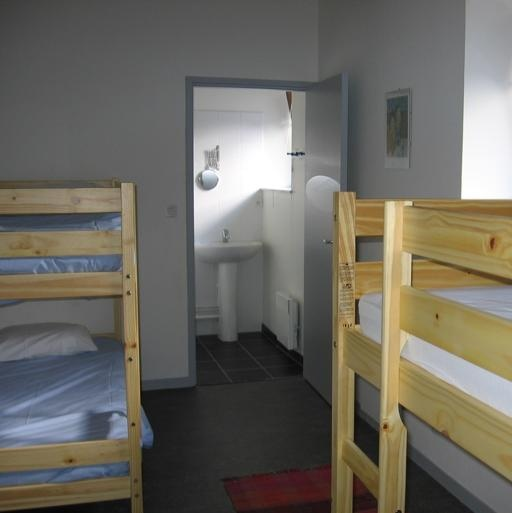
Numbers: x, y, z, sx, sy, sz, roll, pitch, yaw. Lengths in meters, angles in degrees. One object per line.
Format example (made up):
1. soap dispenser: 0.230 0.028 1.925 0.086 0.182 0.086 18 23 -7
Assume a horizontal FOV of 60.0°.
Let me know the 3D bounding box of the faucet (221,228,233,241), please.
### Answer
1. faucet: -0.309 -0.206 4.523 0.072 0.173 0.118 -1 4 -14
